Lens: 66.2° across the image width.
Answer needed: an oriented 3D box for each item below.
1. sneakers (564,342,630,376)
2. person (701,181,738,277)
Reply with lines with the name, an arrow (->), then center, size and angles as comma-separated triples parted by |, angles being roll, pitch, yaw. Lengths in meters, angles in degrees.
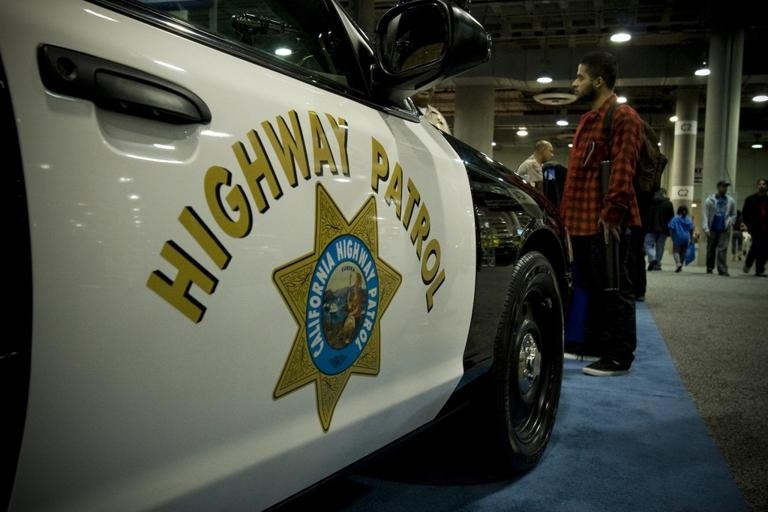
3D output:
sneakers -> 1.555, 0.762, 4.384 | 0.465, 0.234, 0.187 | 6, 2, 14
person -> 7.679, -0.665, 13.523 | 0.626, 2.155, 1.340 | 2, 3, 29
